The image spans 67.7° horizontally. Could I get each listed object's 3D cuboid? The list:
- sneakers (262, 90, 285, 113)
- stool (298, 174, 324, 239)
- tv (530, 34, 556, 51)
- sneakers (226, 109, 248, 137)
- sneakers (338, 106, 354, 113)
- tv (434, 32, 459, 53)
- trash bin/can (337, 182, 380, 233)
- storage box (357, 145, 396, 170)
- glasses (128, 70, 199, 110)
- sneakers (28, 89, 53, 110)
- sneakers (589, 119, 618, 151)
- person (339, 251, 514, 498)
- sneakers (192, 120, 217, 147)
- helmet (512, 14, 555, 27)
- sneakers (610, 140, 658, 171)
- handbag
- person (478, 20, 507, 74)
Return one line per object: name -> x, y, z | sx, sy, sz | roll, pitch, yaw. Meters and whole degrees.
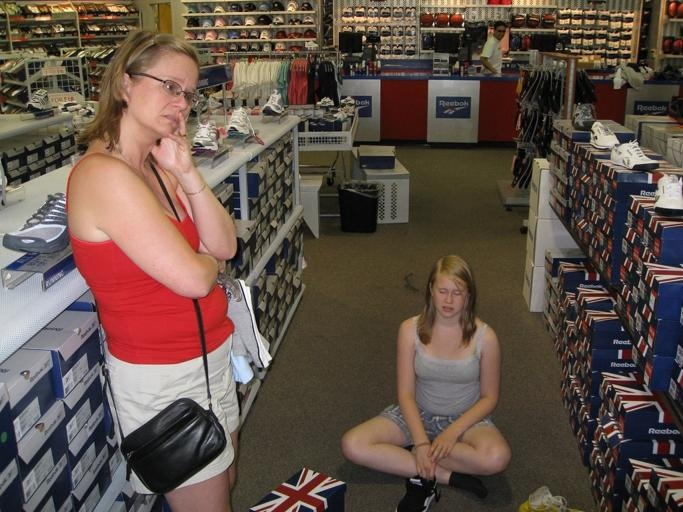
sneakers -> -0.548, -1.246, 4.080 | 0.123, 0.157, 0.327 | 5, 25, 4
stool -> -0.329, -0.523, 5.488 | 0.348, 0.449, 0.685 | 2, 23, 4
tv -> 5.085, -5.294, 12.601 | 0.710, 0.401, 0.385 | -3, 22, -3
sneakers -> -0.659, -0.869, 3.265 | 0.093, 0.117, 0.243 | 1, 23, -3
sneakers -> 0.087, -1.789, 6.209 | 0.164, 0.099, 0.266 | 6, 17, 20
tv -> 2.573, -5.116, 12.209 | 0.600, 0.442, 0.559 | 3, 22, 12
trash bin/can -> 0.160, -0.630, 5.915 | 0.516, 0.637, 0.522 | 2, 24, 2
storage box -> 0.441, -1.184, 6.114 | 0.433, 0.195, 0.448 | -1, 22, 2
glasses -> -0.435, -0.438, 1.329 | 0.095, 0.091, 0.199 | 13, 27, 34
sneakers -> -3.079, -1.586, 5.163 | 0.192, 0.168, 0.438 | -12, 25, -24
sneakers -> 1.556, -0.729, 3.050 | 0.110, 0.118, 0.296 | -8, 25, 1
person -> 0.430, 0.573, 2.477 | 0.756, 1.022, 0.592 | -2, 21, 0
sneakers -> -0.726, -0.671, 2.770 | 0.089, 0.107, 0.258 | 1, 24, 1
helmet -> 4.892, -5.926, 12.738 | 0.543, 0.213, 0.567 | 3, 15, 5
sneakers -> 1.452, -0.496, 2.539 | 0.091, 0.112, 0.262 | -8, 19, -11
handbag -> -0.423, 0.474, 1.374 | 0.275, 0.209, 0.103 | -33, 10, -11
person -> 3.214, -4.368, 10.620 | 0.413, 1.013, 1.824 | 4, 23, 16
